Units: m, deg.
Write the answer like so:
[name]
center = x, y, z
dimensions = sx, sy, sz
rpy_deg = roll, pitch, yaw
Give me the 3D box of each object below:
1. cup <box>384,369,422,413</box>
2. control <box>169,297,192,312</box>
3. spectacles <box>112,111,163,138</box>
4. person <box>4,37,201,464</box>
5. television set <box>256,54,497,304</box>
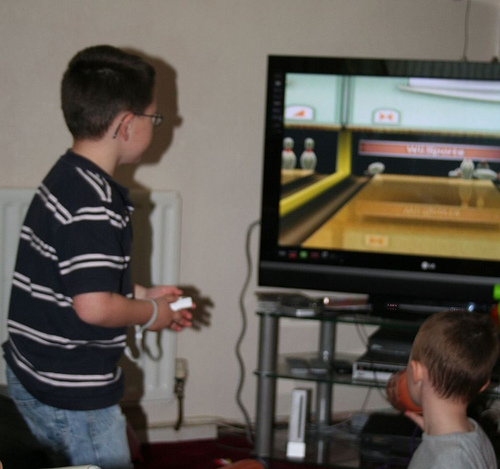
[cup]
center = 0.556, 0.567, 1.967
dimensions = 0.133, 0.132, 0.171
rpy_deg = 6, -21, 20
[control]
center = -0.201, 0.198, 1.582
dimensions = 0.071, 0.040, 0.064
rpy_deg = 0, 5, -21
[spectacles]
center = -0.305, -0.308, 1.536
dimensions = 0.049, 0.088, 0.190
rpy_deg = 3, 5, 20
[person]
center = -0.393, 0.035, 1.460
dimensions = 0.456, 1.098, 0.352
rpy_deg = 0, 4, -25
[television set]
center = 0.525, -0.225, 2.152
dimensions = 0.883, 0.803, 0.311
rpy_deg = 2, 5, 5
